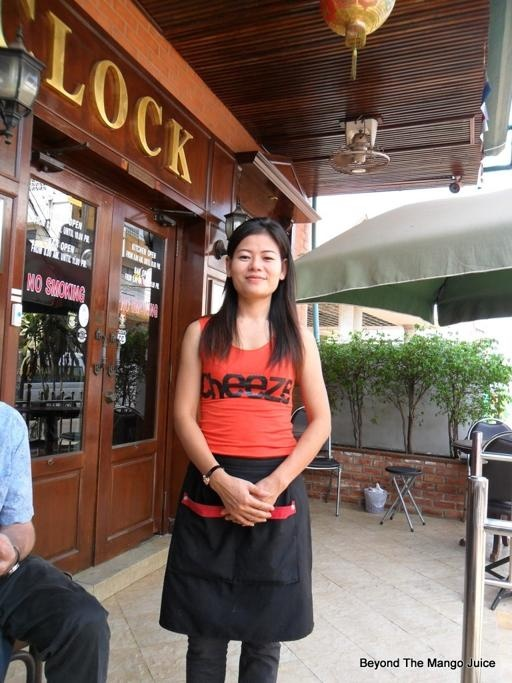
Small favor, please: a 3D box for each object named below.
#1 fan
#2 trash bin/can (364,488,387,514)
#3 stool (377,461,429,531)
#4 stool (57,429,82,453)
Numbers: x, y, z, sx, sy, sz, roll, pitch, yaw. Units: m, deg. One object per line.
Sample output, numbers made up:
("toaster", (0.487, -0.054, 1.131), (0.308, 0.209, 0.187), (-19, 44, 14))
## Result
("fan", (1.028, -1.973, 4.874), (0.514, 0.454, 0.504), (-4, 8, -39))
("trash bin/can", (1.305, 1.745, 5.442), (0.271, 0.259, 0.252), (5, -10, -10))
("stool", (1.569, 1.613, 5.246), (0.439, 0.570, 0.925), (1, -7, 18))
("stool", (-1.076, 0.578, 2.864), (0.108, 0.160, 0.118), (3, -3, 1))
